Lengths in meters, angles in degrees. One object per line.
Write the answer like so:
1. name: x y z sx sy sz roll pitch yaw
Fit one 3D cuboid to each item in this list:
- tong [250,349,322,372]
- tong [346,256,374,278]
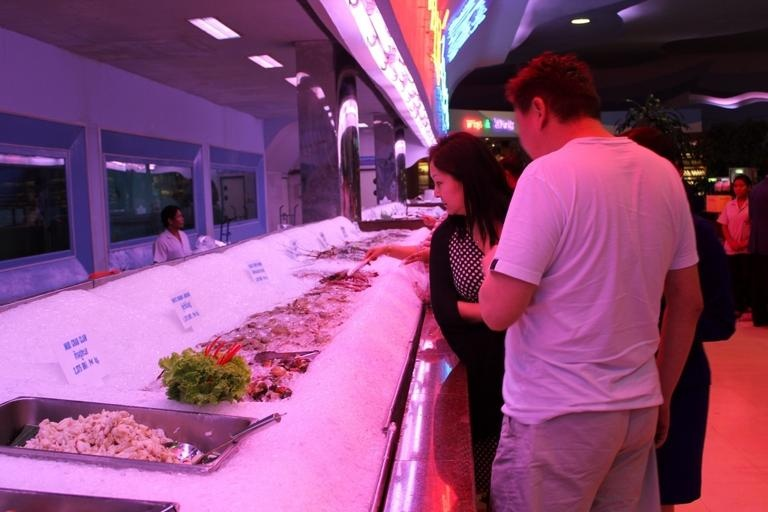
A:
1. tong: -0.342 0.360 1.730 0.229 0.041 0.134 -5 8 1
2. tong: -0.125 0.054 2.675 0.070 0.039 0.143 -18 12 38
